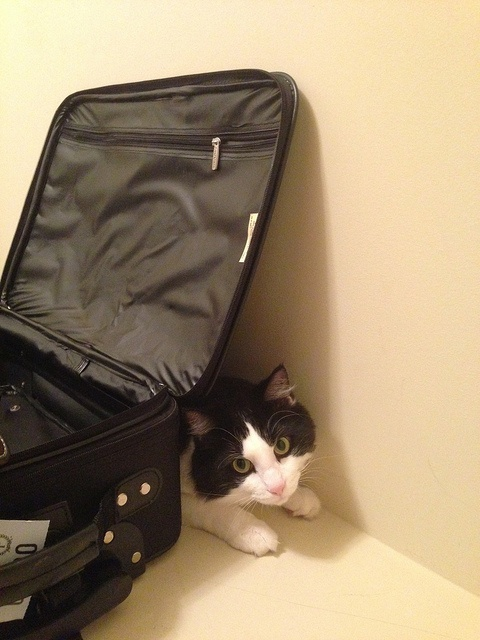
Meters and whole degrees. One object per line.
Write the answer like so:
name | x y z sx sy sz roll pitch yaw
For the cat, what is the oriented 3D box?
cat | 0.012 0.176 0.860 0.182 0.253 0.182 16 23 19
